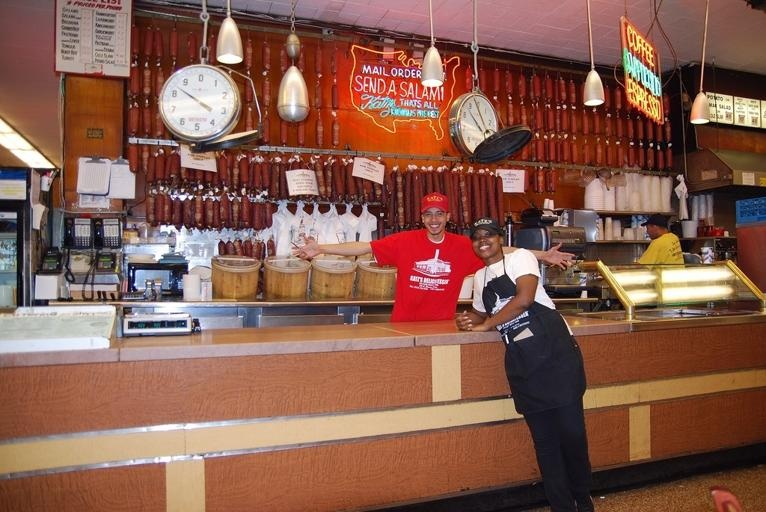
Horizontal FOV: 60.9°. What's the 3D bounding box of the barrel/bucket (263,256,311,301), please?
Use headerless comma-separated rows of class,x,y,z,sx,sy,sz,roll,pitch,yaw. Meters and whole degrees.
barrel/bucket,-0.958,0.194,6.507,0.456,0.385,0.461,2,4,0

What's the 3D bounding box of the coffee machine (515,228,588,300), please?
coffee machine,2.074,0.049,7.557,0.668,0.871,0.992,0,-2,-25

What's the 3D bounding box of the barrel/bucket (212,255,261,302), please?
barrel/bucket,-1.444,0.196,6.365,0.447,0.418,0.457,1,2,0

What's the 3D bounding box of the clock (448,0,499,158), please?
clock,0.827,-1.325,5.900,0.355,0.948,0.497,1,2,35

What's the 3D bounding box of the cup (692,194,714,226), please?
cup,4.379,-0.644,8.937,0.279,0.403,0.136,1,2,22

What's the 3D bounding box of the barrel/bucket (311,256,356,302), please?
barrel/bucket,-0.510,0.215,6.560,0.433,0.385,0.435,2,4,0

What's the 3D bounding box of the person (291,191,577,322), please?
person,0.357,0.024,6.146,1.499,1.244,0.317,0,11,-6

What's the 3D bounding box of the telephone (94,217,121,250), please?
telephone,-2.817,-0.228,6.830,0.385,0.345,0.274,0,0,-32

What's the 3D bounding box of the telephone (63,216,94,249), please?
telephone,-3.105,-0.242,6.632,0.314,0.295,0.089,-4,9,-14

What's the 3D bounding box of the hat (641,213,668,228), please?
hat,3.358,-0.439,8.073,0.263,0.138,0.193,17,14,37

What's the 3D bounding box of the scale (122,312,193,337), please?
scale,-1.568,0.476,4.549,0.468,0.153,0.108,-1,2,-15

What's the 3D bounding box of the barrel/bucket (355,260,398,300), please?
barrel/bucket,-0.061,0.245,6.679,0.400,0.359,0.380,1,1,0

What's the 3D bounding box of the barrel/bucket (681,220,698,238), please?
barrel/bucket,4.101,-0.361,8.857,0.232,0.238,0.225,1,-5,0
